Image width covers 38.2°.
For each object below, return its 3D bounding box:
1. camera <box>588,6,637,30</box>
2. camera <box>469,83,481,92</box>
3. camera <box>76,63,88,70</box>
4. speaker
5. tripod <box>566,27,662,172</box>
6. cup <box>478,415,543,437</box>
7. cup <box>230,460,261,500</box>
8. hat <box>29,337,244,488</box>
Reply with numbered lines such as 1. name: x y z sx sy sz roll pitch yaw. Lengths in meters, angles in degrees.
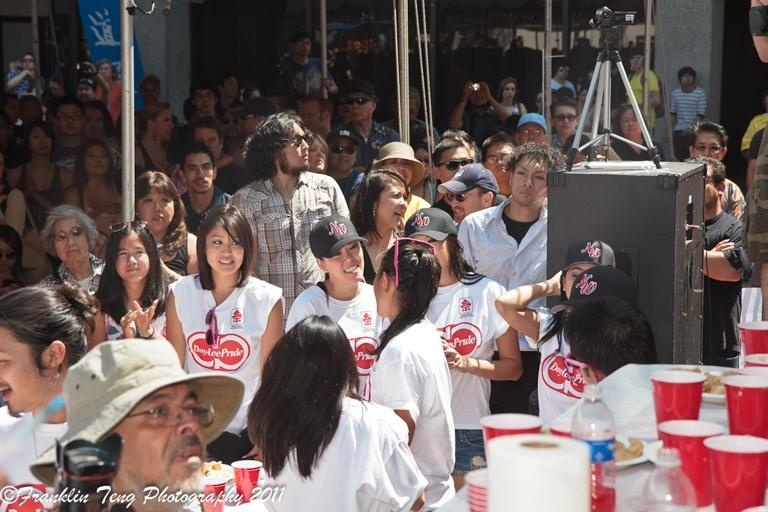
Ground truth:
1. camera: 1.629 -1.650 7.783 0.285 0.141 0.283 -1 6 2
2. camera: 0.985 -1.789 11.809 0.070 0.033 0.098 0 33 5
3. camera: -2.716 -1.698 10.012 0.072 0.071 0.026 -2 -4 -4
4. speaker: 1.790 0.269 7.969 1.083 1.629 1.139 -6 -6 43
5. tripod: 1.567 -1.126 7.743 0.667 0.978 0.605 0 -4 21
6. cup: 0.666 0.886 5.742 0.309 0.112 0.190 -1 5 7
7. cup: -0.824 1.351 6.756 0.207 0.204 0.205 3 3 0
8. hat: -1.198 0.720 5.734 0.922 0.583 0.225 -3 5 -19
